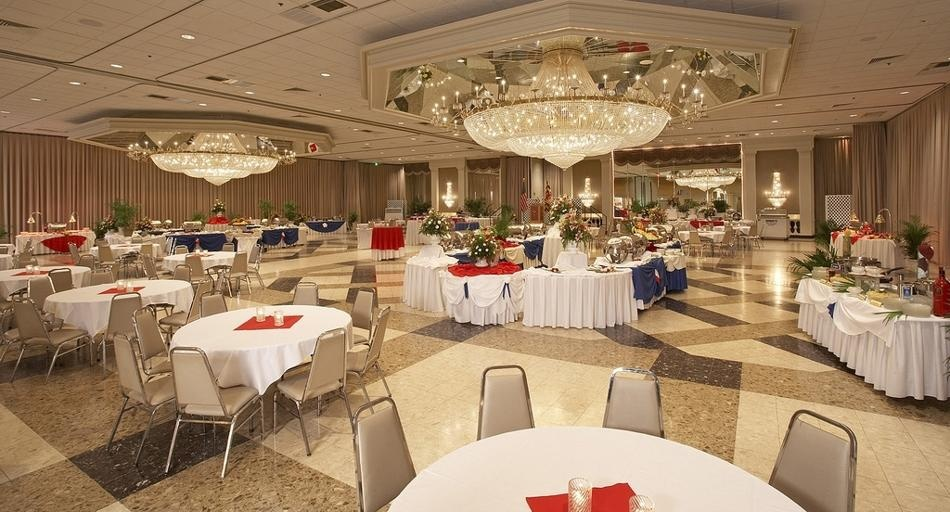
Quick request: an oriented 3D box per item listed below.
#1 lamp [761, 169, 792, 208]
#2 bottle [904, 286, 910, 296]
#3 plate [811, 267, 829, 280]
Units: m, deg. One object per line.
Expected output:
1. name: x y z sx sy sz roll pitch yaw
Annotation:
1. lamp: 13.256 -2.780 23.525 1.107 1.190 1.046 -3 1 6
2. bottle: 7.189 0.576 8.902 0.100 0.155 0.209 6 9 45
3. plate: 6.517 0.336 10.167 0.274 0.175 0.191 -4 4 2
